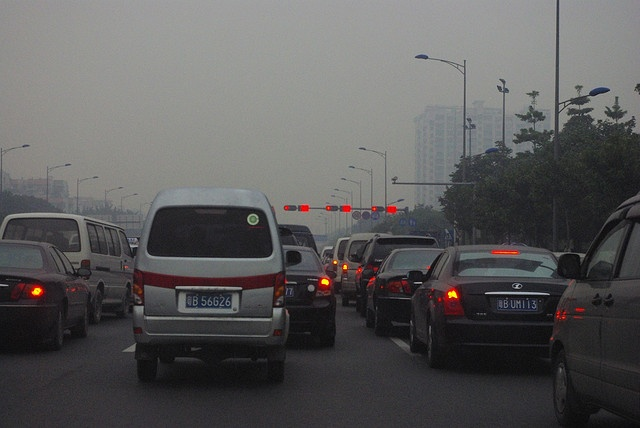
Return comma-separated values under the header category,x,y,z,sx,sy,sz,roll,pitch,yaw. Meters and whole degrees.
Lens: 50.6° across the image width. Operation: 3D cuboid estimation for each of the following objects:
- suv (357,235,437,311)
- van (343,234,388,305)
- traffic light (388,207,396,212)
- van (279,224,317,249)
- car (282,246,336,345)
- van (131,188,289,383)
category,x,y,z,sx,sy,sz,roll,pitch,yaw
suv,1.867,1.412,19.291,1.436,1.362,3.158,0,-1,-2
van,1.520,1.874,24.377,1.388,1.623,2.865,0,2,2
traffic light,8.244,-0.515,79.075,1.206,0.896,0.715,0,-5,1
van,-1.008,1.134,34.131,1.539,1.537,2.841,0,6,1
car,-0.200,1.695,13.314,0.997,1.386,1.769,0,0,-1
van,-1.512,0.848,10.370,1.689,1.812,3.188,0,2,-1
